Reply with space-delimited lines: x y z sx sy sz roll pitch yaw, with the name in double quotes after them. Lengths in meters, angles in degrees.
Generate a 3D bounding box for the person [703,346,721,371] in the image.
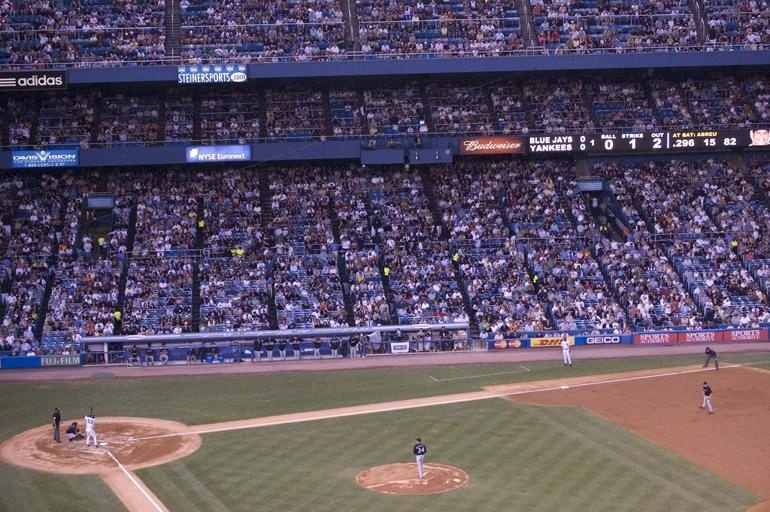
25.738 8.096 81.530 1.112 1.962 1.335 -13 10 -21 "person"

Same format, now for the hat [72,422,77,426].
-20.828 11.204 69.451 0.329 0.153 0.336 -2 -5 -2 "hat"

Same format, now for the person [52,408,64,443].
-22.018 11.151 69.406 0.477 2.330 1.545 -4 11 -17 "person"

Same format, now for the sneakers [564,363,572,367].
14.432 8.547 81.565 0.470 0.126 0.258 4 15 -1 "sneakers"
